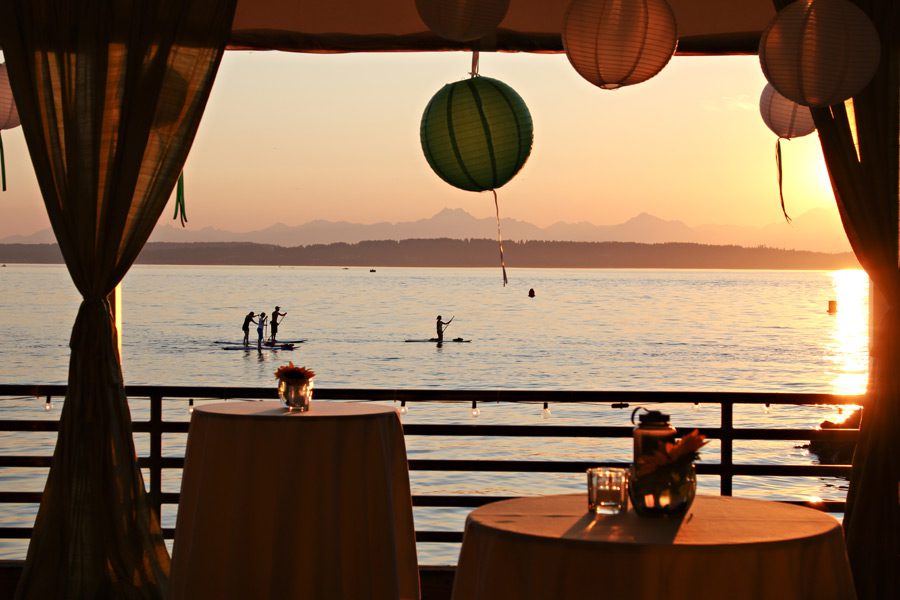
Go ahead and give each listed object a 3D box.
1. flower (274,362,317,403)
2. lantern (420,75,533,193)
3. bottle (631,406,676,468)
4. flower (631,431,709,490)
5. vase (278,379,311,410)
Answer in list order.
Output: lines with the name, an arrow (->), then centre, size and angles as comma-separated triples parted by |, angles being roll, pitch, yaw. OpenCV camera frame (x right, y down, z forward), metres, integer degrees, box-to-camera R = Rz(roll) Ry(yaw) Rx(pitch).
flower -> -0.944, 0.495, 8.006 | 0.250, 0.234, 0.249 | -1, 2, -45
lantern -> 0.151, -0.990, 7.865 | 0.677, 0.683, 0.641 | -3, 0, -13
bottle -> 1.080, 0.721, 6.927 | 0.287, 0.459, 0.298 | 0, -2, 0
flower -> 1.122, 0.795, 6.630 | 0.287, 0.084, 0.284 | -26, 9, -24
vase -> -0.942, 0.569, 7.872 | 0.183, 0.193, 0.187 | 0, 1, -36
